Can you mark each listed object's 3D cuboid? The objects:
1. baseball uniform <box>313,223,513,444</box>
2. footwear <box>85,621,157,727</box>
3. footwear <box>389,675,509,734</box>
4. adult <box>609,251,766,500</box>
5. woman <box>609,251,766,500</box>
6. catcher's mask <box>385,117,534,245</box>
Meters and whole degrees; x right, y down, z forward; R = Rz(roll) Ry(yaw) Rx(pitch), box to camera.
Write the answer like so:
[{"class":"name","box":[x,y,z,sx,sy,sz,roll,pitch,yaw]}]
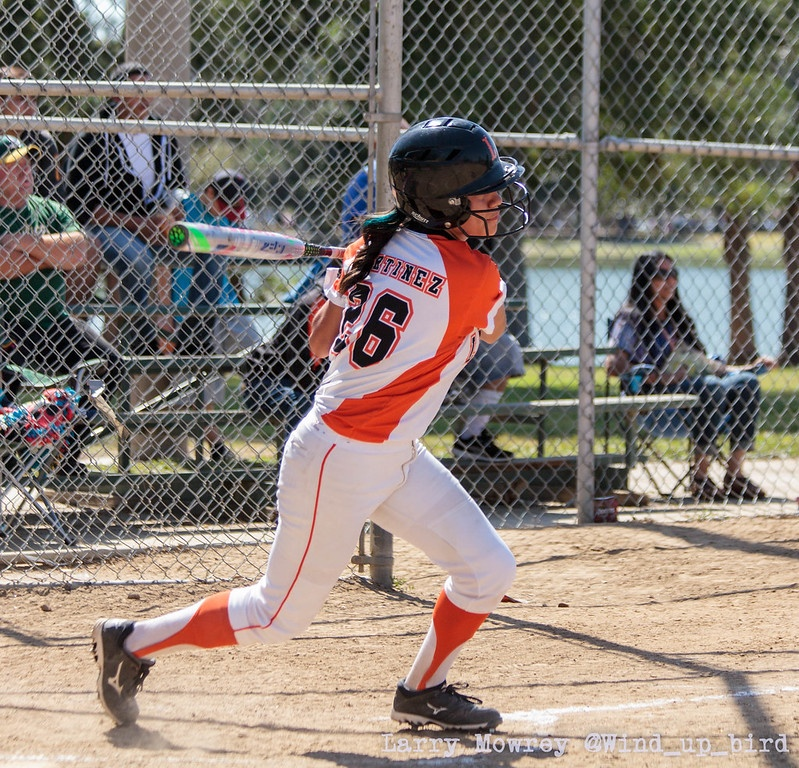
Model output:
[{"class":"baseball uniform","box":[0.027,-0.166,4.122,0.611,0.641,0.262,-8,18,-30]},{"class":"footwear","box":[-0.907,0.921,4.323,0.226,0.355,0.140,-8,3,11]},{"class":"footwear","box":[0.146,1.054,4.335,0.436,0.147,0.135,4,-7,0]},{"class":"adult","box":[1.648,-0.062,7.370,0.767,1.341,1.042,-8,17,-30]},{"class":"woman","box":[1.641,-0.065,7.385,0.771,1.341,1.017,-8,17,-29]},{"class":"catcher's mask","box":[0.175,-0.678,4.181,0.518,0.285,0.318,4,32,-3]}]
